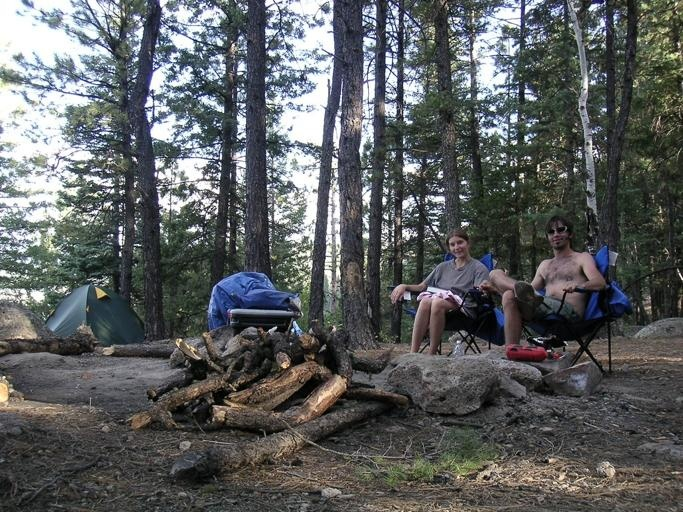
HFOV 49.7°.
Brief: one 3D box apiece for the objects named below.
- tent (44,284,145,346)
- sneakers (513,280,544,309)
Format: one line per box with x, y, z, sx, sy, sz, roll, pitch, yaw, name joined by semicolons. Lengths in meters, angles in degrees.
-6.352;1.509;18.607;1.821;1.058;1.861;-4;-5;41;tent
2.755;0.557;11.063;0.517;0.268;0.233;40;6;-17;sneakers
